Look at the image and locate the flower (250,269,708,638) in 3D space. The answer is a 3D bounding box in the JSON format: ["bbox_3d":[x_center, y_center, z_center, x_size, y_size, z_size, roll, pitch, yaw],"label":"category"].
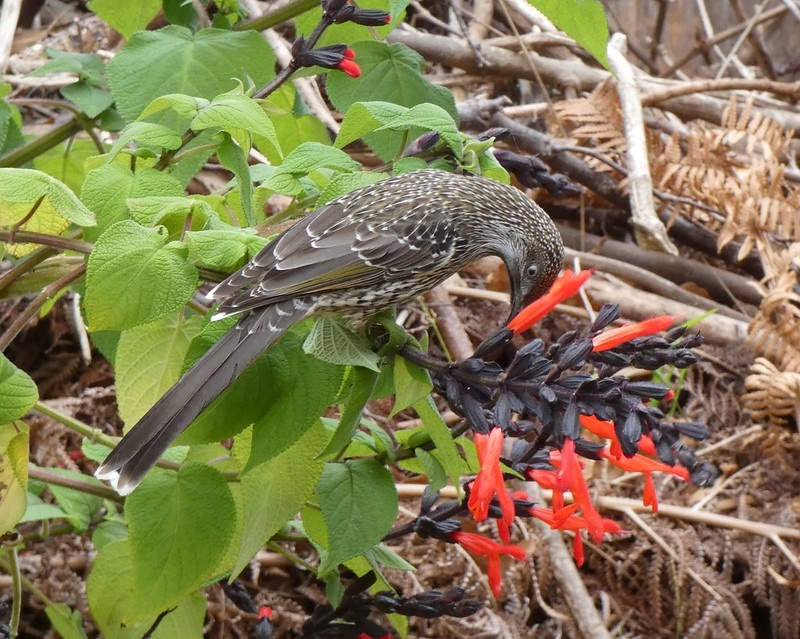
[{"bbox_3d":[0.252,0.374,2.227,0.947,0.969,0.448,5,17,19],"label":"flower"}]

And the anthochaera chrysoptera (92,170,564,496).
[{"bbox_3d":[-0.131,0.013,2.509,1.295,0.423,0.367,-8,-24,12],"label":"anthochaera chrysoptera"}]
